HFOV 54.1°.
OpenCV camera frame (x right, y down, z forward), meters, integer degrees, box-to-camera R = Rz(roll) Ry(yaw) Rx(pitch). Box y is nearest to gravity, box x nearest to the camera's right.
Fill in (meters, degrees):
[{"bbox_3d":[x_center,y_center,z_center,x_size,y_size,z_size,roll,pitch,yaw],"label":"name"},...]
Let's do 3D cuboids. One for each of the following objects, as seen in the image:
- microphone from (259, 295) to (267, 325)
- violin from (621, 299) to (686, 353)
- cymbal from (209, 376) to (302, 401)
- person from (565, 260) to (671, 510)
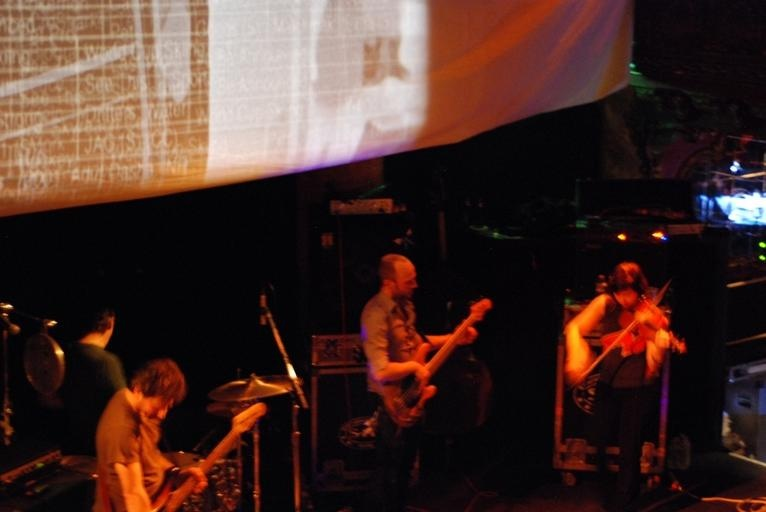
[{"bbox_3d":[-0.775,0.346,4.799,0.050,0.197,0.030,-3,8,-6],"label":"microphone"},{"bbox_3d":[1.852,0.457,5.035,0.434,0.223,0.124,32,31,8],"label":"violin"},{"bbox_3d":[-0.829,0.849,4.772,0.276,0.055,0.262,-5,14,-22],"label":"cymbal"},{"bbox_3d":[1.599,0.893,5.061,0.707,1.690,0.174,0,8,12],"label":"person"}]
